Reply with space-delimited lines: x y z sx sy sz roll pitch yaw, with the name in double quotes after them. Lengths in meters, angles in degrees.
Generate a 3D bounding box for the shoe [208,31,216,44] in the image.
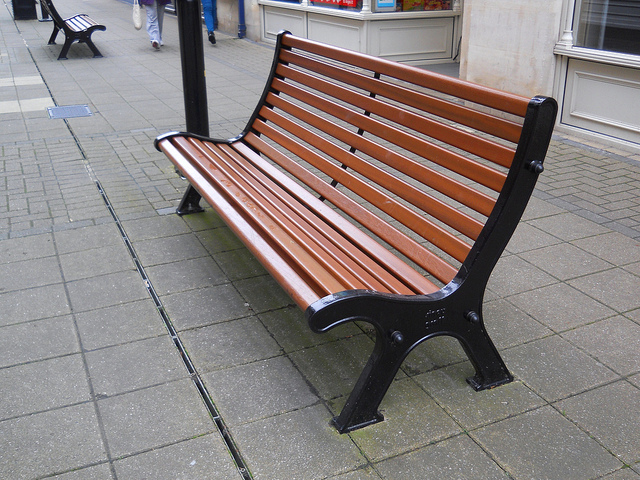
-2.856 -5.401 12.873 0.149 0.157 0.410 -16 30 -5 "shoe"

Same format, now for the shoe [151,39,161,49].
-3.978 -4.779 11.810 0.144 0.145 0.338 -20 55 -21 "shoe"

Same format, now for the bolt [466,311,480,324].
0.738 0.373 2.330 0.039 0.038 0.054 -54 40 -2 "bolt"
